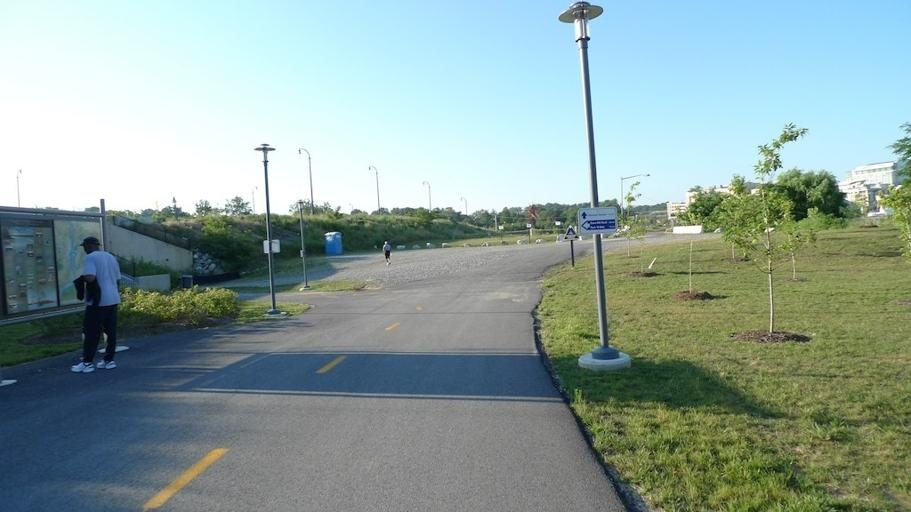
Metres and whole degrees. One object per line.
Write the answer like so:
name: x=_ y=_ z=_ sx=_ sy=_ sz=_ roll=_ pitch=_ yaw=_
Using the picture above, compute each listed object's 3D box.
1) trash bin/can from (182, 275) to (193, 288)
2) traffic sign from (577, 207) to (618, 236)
trash bin/can: x=-17.088 y=1.635 z=42.311 sx=0.685 sy=0.972 sz=0.695 roll=0 pitch=3 yaw=7
traffic sign: x=3.842 y=-0.961 z=17.968 sx=0.820 sy=0.553 sz=0.120 roll=1 pitch=-1 yaw=-8
